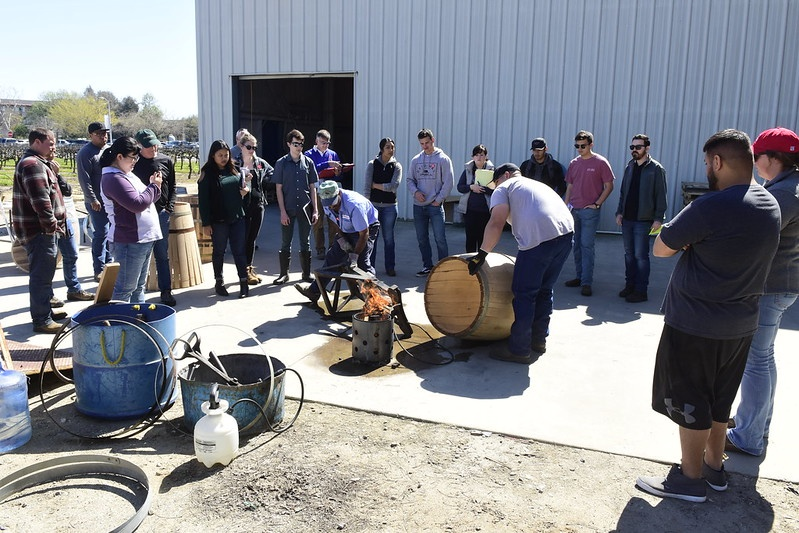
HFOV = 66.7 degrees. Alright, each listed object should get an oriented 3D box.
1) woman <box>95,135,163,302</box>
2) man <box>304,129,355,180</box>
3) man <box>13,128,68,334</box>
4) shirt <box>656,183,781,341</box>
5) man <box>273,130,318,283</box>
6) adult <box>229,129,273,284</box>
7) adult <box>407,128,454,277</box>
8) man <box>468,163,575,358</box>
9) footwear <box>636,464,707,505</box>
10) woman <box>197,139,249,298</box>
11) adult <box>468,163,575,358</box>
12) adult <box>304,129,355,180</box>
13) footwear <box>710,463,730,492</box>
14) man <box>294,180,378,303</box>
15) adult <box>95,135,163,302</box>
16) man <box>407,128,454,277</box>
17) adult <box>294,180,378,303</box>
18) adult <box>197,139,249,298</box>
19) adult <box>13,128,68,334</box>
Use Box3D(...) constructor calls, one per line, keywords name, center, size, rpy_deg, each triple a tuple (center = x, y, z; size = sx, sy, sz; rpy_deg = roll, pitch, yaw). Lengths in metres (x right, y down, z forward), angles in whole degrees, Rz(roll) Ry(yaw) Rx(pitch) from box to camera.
Box3D(name="woman", center=(-3.058, -0.543, 7.069), size=(0.633, 1.920, 0.489), rpy_deg=(-7, 14, -26))
Box3D(name="man", center=(-1.288, -1.951, 10.929), size=(0.760, 0.956, 0.526), rpy_deg=(8, 11, 32))
Box3D(name="man", center=(-4.409, -0.450, 7.473), size=(0.534, 2.403, 0.914), rpy_deg=(-6, 14, -22))
Box3D(name="shirt", center=(2.551, -0.052, 4.883), size=(0.868, 1.175, 0.299), rpy_deg=(-2, 13, -4))
Box3D(name="man", center=(-1.687, -0.988, 9.976), size=(0.671, 2.522, 0.511), rpy_deg=(-4, 17, -19))
Box3D(name="adult", center=(-2.354, -0.842, 9.789), size=(0.761, 2.574, 0.730), rpy_deg=(-14, 29, -38))
Box3D(name="adult", center=(0.532, -1.093, 10.263), size=(0.731, 2.366, 0.633), rpy_deg=(1, 13, 6))
Box3D(name="man", center=(1.449, -0.014, 7.065), size=(1.096, 2.102, 0.678), rpy_deg=(0, 13, 5))
Box3D(name="footwear", center=(2.304, 1.817, 5.231), size=(0.586, 0.331, 0.252), rpy_deg=(8, -18, 18))
Box3D(name="woman", center=(-2.543, -0.731, 9.014), size=(0.618, 2.231, 0.544), rpy_deg=(-1, 12, 0))
Box3D(name="adult", center=(1.446, -0.008, 7.059), size=(1.110, 2.093, 0.660), rpy_deg=(0, 13, 3))
Box3D(name="adult", center=(-1.284, -1.949, 10.936), size=(0.782, 1.001, 0.520), rpy_deg=(8, 11, 37))
Box3D(name="footwear", center=(2.694, 1.781, 5.145), size=(0.093, 0.133, 0.278), rpy_deg=(-7, 15, 9))
Box3D(name="man", center=(-0.857, -0.342, 8.643), size=(1.140, 1.907, 0.757), rpy_deg=(-5, 23, -17))
Box3D(name="adult", center=(-3.059, -0.543, 7.069), size=(0.632, 1.920, 0.489), rpy_deg=(-7, 14, -26))
Box3D(name="man", center=(0.532, -1.096, 10.272), size=(0.737, 2.366, 0.655), rpy_deg=(1, 13, 8))
Box3D(name="adult", center=(-0.827, -0.352, 8.652), size=(1.125, 1.880, 0.720), rpy_deg=(-7, 23, -22))
Box3D(name="adult", center=(-2.543, -0.731, 9.014), size=(0.618, 2.231, 0.544), rpy_deg=(-1, 12, 0))
Box3D(name="adult", center=(-4.409, -0.451, 7.473), size=(0.534, 2.403, 0.913), rpy_deg=(-6, 14, -22))
